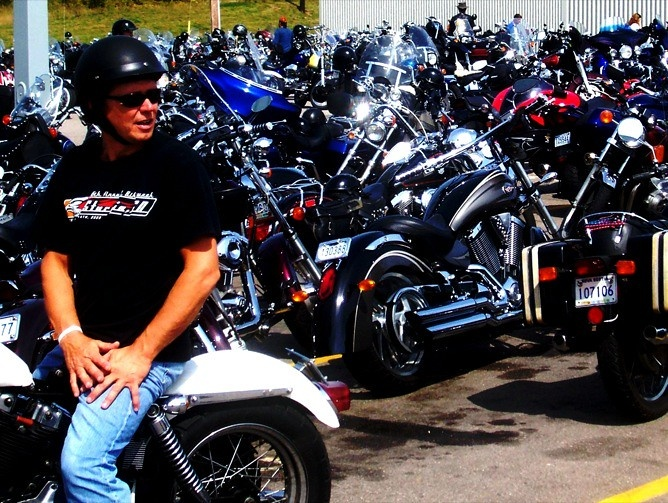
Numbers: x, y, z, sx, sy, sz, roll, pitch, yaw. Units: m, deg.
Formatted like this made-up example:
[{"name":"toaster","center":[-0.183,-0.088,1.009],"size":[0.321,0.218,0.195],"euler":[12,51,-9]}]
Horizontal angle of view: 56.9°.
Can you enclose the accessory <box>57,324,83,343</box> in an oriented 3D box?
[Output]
[{"name":"accessory","center":[-0.955,0.311,2.252],"size":[0.070,0.017,0.072],"euler":[-32,4,-25]}]

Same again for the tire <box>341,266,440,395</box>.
[{"name":"tire","center":[0.405,0.568,4.574],"size":[0.884,0.785,0.314],"euler":[-13,-1,-37]}]

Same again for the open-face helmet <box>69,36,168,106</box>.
[{"name":"open-face helmet","center":[-0.773,-0.723,2.394],"size":[0.248,0.252,0.310],"euler":[-19,37,-22]}]
